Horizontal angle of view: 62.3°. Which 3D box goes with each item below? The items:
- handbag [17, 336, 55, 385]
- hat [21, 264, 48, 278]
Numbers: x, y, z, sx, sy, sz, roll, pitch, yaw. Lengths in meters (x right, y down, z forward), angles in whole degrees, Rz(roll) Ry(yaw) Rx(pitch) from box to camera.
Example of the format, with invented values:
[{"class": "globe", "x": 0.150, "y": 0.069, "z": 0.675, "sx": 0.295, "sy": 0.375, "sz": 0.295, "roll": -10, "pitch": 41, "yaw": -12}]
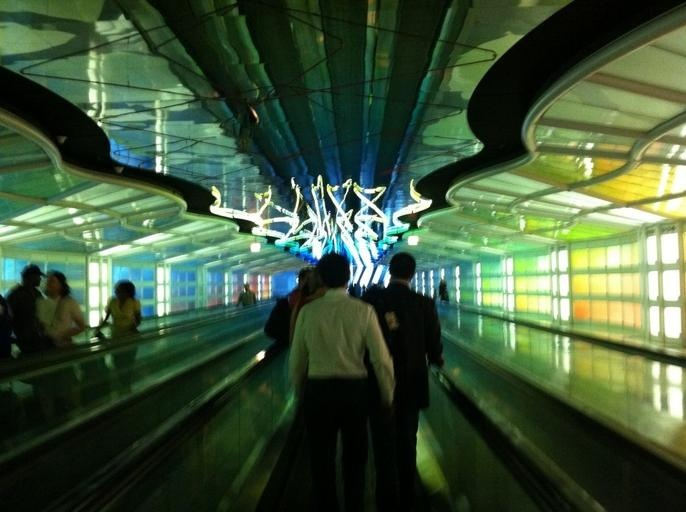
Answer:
[{"class": "handbag", "x": -4.607, "y": 1.422, "z": 8.412, "sx": 0.506, "sy": 0.483, "sz": 1.183, "roll": 0, "pitch": -3, "yaw": -27}, {"class": "hat", "x": -5.900, "y": 0.291, "z": 10.755, "sx": 0.512, "sy": 0.196, "sz": 0.328, "roll": -5, "pitch": -5, "yaw": 7}]
